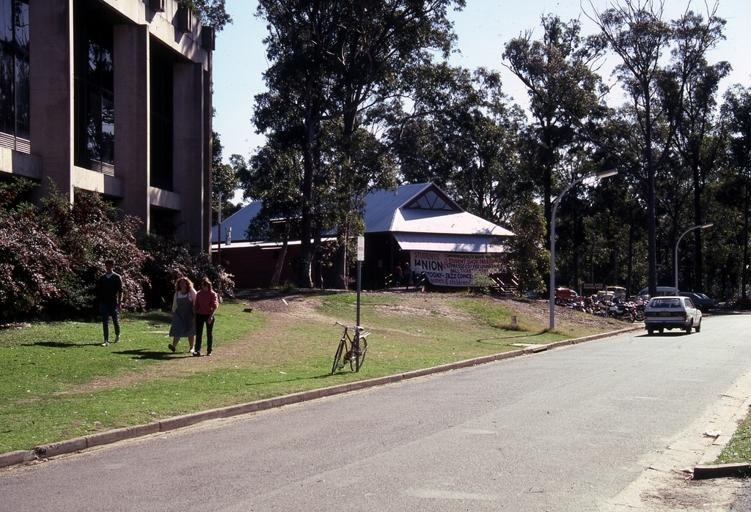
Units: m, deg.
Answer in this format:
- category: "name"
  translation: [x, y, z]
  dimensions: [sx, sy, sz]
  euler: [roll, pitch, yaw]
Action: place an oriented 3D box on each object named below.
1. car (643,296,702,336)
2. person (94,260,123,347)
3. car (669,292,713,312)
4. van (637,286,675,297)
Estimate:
- category: "car"
  translation: [15.488, 3.048, 39.253]
  dimensions: [1.729, 1.765, 4.543]
  euler: [-1, -2, 33]
- category: "person"
  translation: [-8.327, 1.433, 23.755]
  dimensions: [0.652, 2.589, 1.417]
  euler: [3, 5, -19]
- category: "car"
  translation: [21.472, 3.100, 51.187]
  dimensions: [2.690, 1.465, 1.526]
  euler: [-1, 1, -26]
- category: "van"
  translation: [21.429, 2.685, 57.349]
  dimensions: [0.783, 1.060, 1.944]
  euler: [1, -2, -39]
